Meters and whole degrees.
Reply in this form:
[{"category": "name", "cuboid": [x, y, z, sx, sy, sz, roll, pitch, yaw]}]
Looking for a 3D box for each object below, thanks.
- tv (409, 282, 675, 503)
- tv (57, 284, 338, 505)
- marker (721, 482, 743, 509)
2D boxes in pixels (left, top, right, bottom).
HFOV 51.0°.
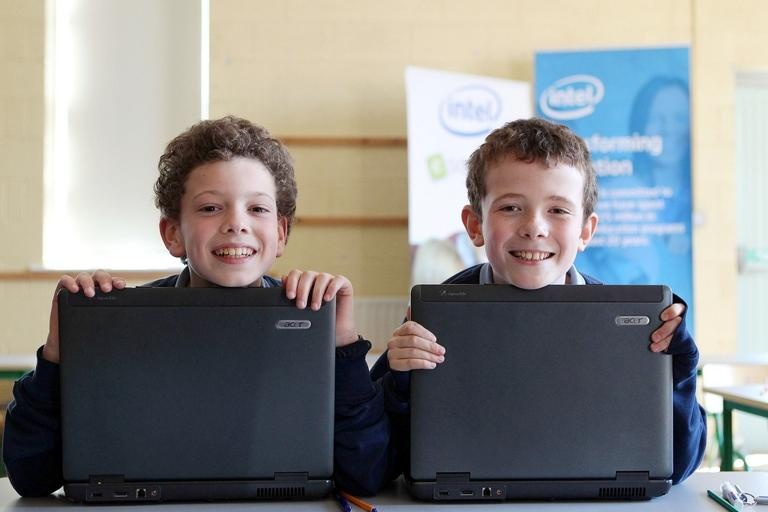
[{"category": "tv", "cuboid": [0.529, 0.445, 2.964, 0.960, 0.671, 0.763, -1, -3, 3]}, {"category": "tv", "cuboid": [-0.632, 0.458, 2.834, 0.952, 0.717, 0.682, 1, 1, -1]}, {"category": "marker", "cuboid": [1.135, 0.776, 2.627, 0.053, 0.033, 0.066, -33, 47, -7]}]
